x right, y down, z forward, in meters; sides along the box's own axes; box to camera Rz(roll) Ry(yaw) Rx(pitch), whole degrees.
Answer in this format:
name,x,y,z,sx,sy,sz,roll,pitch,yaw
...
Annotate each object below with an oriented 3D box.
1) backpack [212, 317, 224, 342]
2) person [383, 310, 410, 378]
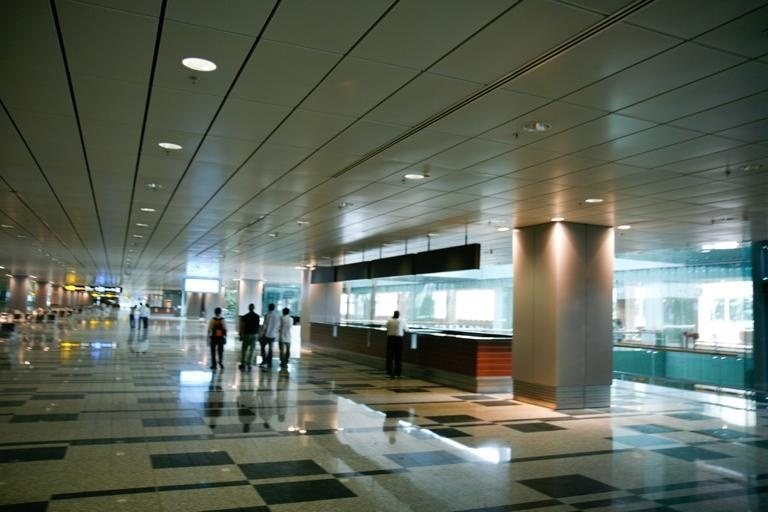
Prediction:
name,x,y,z,sx,sy,sz,roll,pitch,yaw
backpack,-5.225,2.274,14.950,0.467,0.864,0.602,5,-8,-17
person,0.296,2.771,15.347,0.553,2.056,1.240,2,-8,2
